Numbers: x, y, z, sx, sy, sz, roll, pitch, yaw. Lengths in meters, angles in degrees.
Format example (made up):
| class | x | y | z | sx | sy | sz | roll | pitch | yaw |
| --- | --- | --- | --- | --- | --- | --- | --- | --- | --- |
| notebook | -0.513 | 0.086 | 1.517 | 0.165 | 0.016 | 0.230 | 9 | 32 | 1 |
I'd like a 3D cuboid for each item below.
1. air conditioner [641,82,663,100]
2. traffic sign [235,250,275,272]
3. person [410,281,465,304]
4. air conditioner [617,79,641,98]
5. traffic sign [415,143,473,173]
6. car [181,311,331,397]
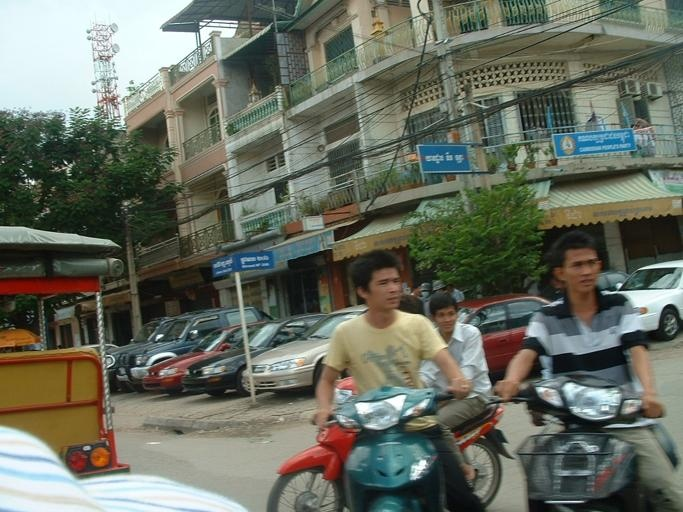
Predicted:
| class | x | y | z | sx | sy | sz | roll | pitch | yaw |
| --- | --- | --- | --- | --- | --- | --- | --- | --- | --- |
| air conditioner | 8.472 | -4.473 | 22.657 | 0.516 | 0.395 | 0.851 | -2 | -2 | 32 |
| traffic sign | -1.521 | 0.082 | 14.547 | 0.338 | 0.360 | 0.973 | -12 | -7 | 21 |
| person | 1.956 | 0.706 | 17.057 | 1.167 | 0.268 | 0.681 | -1 | 3 | 1 |
| air conditioner | 7.612 | -4.415 | 22.014 | 0.770 | 0.366 | 0.399 | -1 | -3 | -37 |
| traffic sign | 2.082 | -1.929 | 16.501 | 1.019 | 0.380 | 0.131 | 0 | -18 | -36 |
| car | -1.859 | 1.909 | 15.873 | 3.332 | 0.766 | 1.417 | -5 | -5 | -41 |
